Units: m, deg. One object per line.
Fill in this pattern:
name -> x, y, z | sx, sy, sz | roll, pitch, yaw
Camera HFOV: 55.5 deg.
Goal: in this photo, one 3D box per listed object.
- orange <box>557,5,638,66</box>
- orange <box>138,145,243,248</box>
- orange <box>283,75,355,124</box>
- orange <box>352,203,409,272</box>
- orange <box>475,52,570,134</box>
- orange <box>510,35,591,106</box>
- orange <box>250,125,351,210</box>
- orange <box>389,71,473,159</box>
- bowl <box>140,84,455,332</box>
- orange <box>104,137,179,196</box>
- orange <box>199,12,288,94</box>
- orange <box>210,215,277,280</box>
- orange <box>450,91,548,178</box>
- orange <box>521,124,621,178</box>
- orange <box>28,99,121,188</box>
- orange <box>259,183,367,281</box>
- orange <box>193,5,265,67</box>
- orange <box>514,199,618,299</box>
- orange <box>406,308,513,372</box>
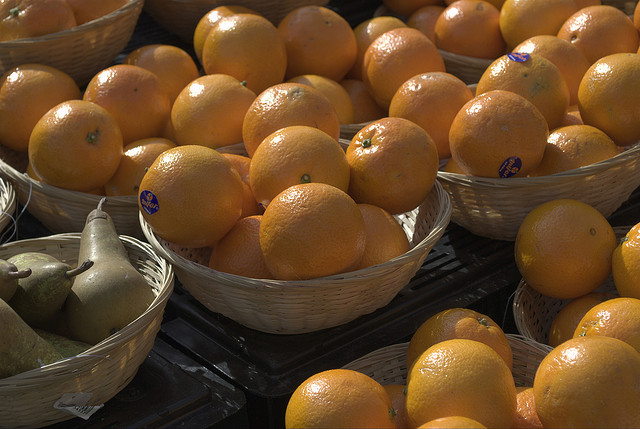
orange -> 0.839, -0.543, 1.936 | 0.211, 0.208, 0.189 | -7, 24, -22
orange -> -0.296, -0.042, 1.457 | 0.207, 0.214, 0.230 | 0, 52, -2
orange -> -0.015, -0.346, 1.788 | 0.149, 0.195, 0.147 | -27, 20, -29
orange -> 0.140, 0.050, 1.454 | 0.122, 0.130, 0.170 | -1, 75, -14
orange -> 0.562, -0.335, 1.689 | 0.210, 0.230, 0.218 | -1, 11, 11
orange -> 0.651, -0.431, 1.790 | 0.176, 0.192, 0.240 | 3, 74, 3
orange -> -0.047, -0.129, 1.361 | 0.184, 0.205, 0.187 | -5, 33, -6
orange -> 0.311, -0.268, 1.714 | 0.205, 0.272, 0.217 | -6, 1, -4
bowl -> -0.016, 0.069, 1.458 | 0.601, 0.321, 0.590 | 0, 40, 0
orange -> -0.486, -0.125, 1.686 | 0.144, 0.184, 0.168 | -3, 81, 17
orange -> -0.207, -0.466, 1.830 | 0.220, 0.283, 0.221 | 27, 27, 29
orange -> -0.177, 0.101, 1.452 | 0.151, 0.143, 0.140 | 9, 38, 4
orange -> 0.469, -0.228, 1.567 | 0.208, 0.219, 0.212 | 18, 18, 22
orange -> 0.645, -0.164, 1.535 | 0.154, 0.134, 0.165 | -18, 22, 1
orange -> -0.624, -0.174, 1.547 | 0.228, 0.141, 0.180 | -26, 61, -16
orange -> -0.010, 0.046, 1.268 | 0.192, 0.205, 0.204 | -4, 58, 6
orange -> -0.316, -0.566, 1.923 | 0.193, 0.189, 0.172 | -47, 28, -13
orange -> 0.550, 0.080, 1.410 | 0.202, 0.216, 0.241 | 0, 64, 18
orange -> 0.284, 0.324, 1.274 | 0.147, 0.160, 0.154 | 11, 30, -13
